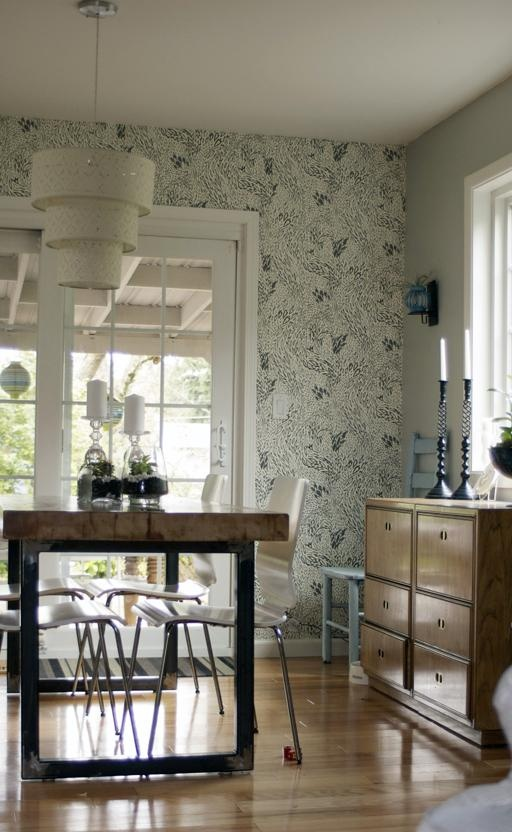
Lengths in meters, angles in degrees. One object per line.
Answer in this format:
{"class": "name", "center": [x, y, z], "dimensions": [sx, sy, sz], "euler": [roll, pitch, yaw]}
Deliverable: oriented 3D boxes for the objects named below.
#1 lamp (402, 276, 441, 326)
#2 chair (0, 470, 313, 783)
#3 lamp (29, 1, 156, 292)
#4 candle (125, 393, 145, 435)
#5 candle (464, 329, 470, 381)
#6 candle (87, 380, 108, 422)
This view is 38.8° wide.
{"class": "lamp", "center": [0.911, -0.631, 3.994], "dimensions": [0.164, 0.259, 0.116], "euler": [2, -7, -6]}
{"class": "chair", "center": [-0.306, 0.576, 2.367], "dimensions": [0.961, 0.915, 0.956], "euler": [3, -6, -17]}
{"class": "lamp", "center": [-0.501, -0.604, 2.200], "dimensions": [0.357, 0.395, 0.298], "euler": [3, -7, -12]}
{"class": "candle", "center": [-0.416, -0.007, 2.482], "dimensions": [0.068, 0.151, 0.097], "euler": [3, -7, -12]}
{"class": "candle", "center": [0.996, -0.291, 3.427], "dimensions": [0.024, 0.280, 0.275], "euler": [0, -7, 17]}
{"class": "candle", "center": [-0.558, -0.054, 2.529], "dimensions": [0.065, 0.151, 0.084], "euler": [3, -7, -14]}
